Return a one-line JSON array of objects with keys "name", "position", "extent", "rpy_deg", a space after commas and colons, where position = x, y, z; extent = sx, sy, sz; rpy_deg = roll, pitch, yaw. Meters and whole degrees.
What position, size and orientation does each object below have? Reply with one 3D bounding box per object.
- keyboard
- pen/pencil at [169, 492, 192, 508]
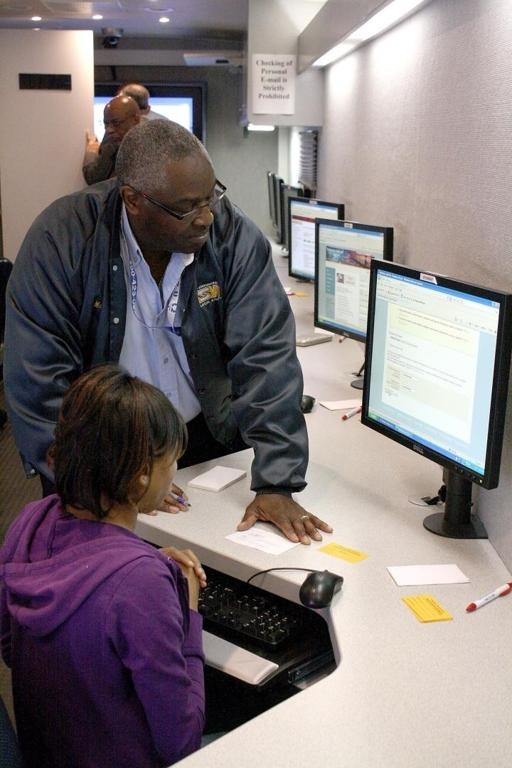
[{"name": "keyboard", "position": [-0.016, 0.468, 1.137], "extent": [0.142, 0.048, 0.289], "rpy_deg": [-11, 1, -41]}, {"name": "pen/pencil", "position": [-0.166, 0.242, 1.267], "extent": [0.017, 0.021, 0.066], "rpy_deg": [-18, 38, -31]}]
